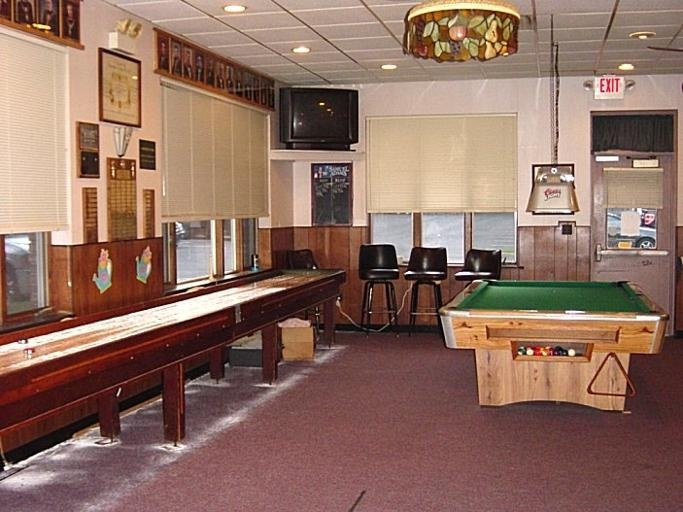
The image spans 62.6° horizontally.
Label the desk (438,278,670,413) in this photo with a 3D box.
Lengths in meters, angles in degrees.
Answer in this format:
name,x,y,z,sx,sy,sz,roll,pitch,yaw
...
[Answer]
name,x,y,z,sx,sy,sz,roll,pitch,yaw
desk,1.831,0.755,4.761,1.495,0.722,1.459,0,6,12
